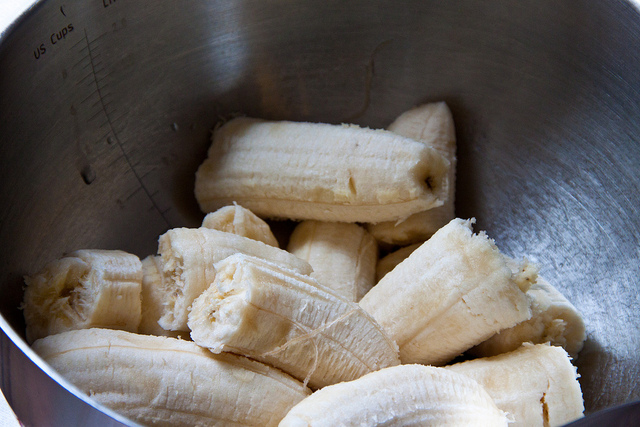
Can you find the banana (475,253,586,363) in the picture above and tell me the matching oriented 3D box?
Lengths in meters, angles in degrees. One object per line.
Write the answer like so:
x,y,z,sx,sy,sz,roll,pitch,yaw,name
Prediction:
0.592,0.306,2.407,0.203,0.145,0.376,-36,63,-18,banana
